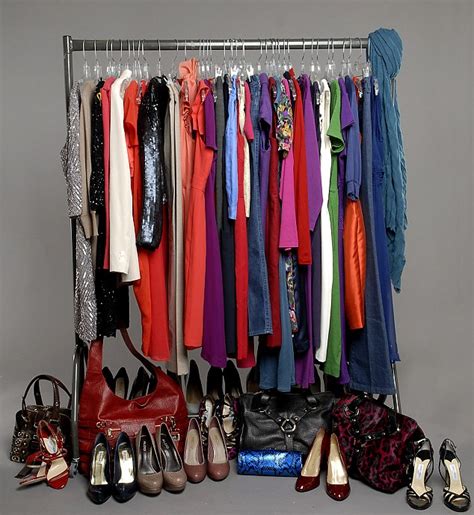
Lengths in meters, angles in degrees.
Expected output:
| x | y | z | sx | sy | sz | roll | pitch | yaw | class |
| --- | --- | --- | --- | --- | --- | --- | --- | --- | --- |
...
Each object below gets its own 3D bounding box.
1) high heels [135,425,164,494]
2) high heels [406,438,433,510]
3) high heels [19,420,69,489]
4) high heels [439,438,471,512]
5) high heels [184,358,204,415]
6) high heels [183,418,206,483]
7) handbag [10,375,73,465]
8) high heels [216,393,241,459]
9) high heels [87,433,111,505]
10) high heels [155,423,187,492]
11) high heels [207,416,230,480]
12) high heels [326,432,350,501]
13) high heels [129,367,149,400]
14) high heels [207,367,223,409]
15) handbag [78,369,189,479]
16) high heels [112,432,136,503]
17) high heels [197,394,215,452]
| x | y | z | sx | sy | sz | roll | pitch | yaw | class |
| --- | --- | --- | --- | --- | --- | --- | --- | --- | --- |
| -0.347 | 0.800 | 2.484 | 0.074 | 0.276 | 0.108 | -1 | -44 | -16 | high heels |
| 0.689 | 0.826 | 2.408 | 0.098 | 0.222 | 0.143 | -2 | 7 | 16 | high heels |
| -0.761 | 0.821 | 2.544 | 0.147 | 0.136 | 0.264 | -1 | 15 | -17 | high heels |
| 0.828 | 0.840 | 2.423 | 0.103 | 0.204 | 0.192 | -2 | 8 | 18 | high heels |
| -0.207 | 0.629 | 3.026 | 0.069 | 0.307 | 0.101 | -1 | 0 | 2 | high heels |
| -0.177 | 0.797 | 2.592 | 0.060 | 0.072 | 0.271 | 0 | 44 | -6 | high heels |
| -0.869 | 0.734 | 2.807 | 0.250 | 0.485 | 0.171 | 2 | -4 | 2 | handbag |
| -0.035 | 0.724 | 2.714 | 0.076 | 0.284 | 0.070 | -1 | -33 | -5 | high heels |
| -0.531 | 0.840 | 2.462 | 0.069 | 0.292 | 0.078 | -3 | -29 | 1 | high heels |
| -0.269 | 0.809 | 2.513 | 0.076 | 0.302 | 0.097 | -1 | -44 | -22 | high heels |
| -0.077 | 0.796 | 2.594 | 0.067 | 0.261 | 0.072 | 0 | -43 | -5 | high heels |
| 0.388 | 0.815 | 2.484 | 0.092 | 0.212 | 0.182 | -3 | 7 | 8 | high heels |
| -0.451 | 0.587 | 2.902 | 0.048 | 0.194 | 0.053 | 1 | -26 | 13 | high heels |
| -0.104 | 0.595 | 2.911 | 0.050 | 0.201 | 0.065 | -1 | -7 | 4 | high heels |
| -0.426 | 0.614 | 2.747 | 0.512 | 0.664 | 0.337 | 1 | -25 | -16 | handbag |
| -0.443 | 0.823 | 2.465 | 0.070 | 0.284 | 0.075 | -1 | -25 | -5 | high heels |
| -0.138 | 0.718 | 2.735 | 0.056 | 0.219 | 0.054 | 5 | -27 | -11 | high heels |
